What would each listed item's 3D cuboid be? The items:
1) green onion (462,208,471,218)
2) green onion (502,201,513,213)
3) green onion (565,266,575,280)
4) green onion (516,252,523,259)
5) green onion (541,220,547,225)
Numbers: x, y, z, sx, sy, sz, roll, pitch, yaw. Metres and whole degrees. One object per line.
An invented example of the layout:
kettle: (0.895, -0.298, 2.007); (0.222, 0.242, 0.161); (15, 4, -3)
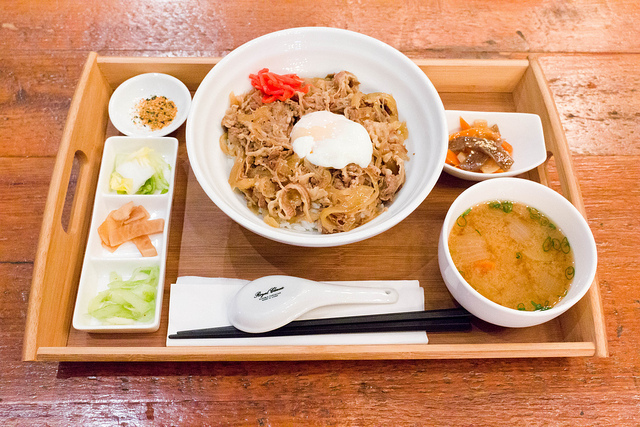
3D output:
green onion: (0.946, 0.000, 3.365); (0.072, 0.018, 0.014); (-43, 36, 10)
green onion: (1.221, -0.042, 3.397); (0.073, 0.033, 0.068); (-23, 88, -1)
green onion: (1.551, 0.374, 3.229); (0.044, 0.032, 0.076); (9, 77, 0)
green onion: (1.263, 0.270, 3.295); (0.035, 0.004, 0.042); (-5, 77, -4)
green onion: (1.447, 0.061, 3.357); (0.026, 0.006, 0.023); (-2, 77, 15)
